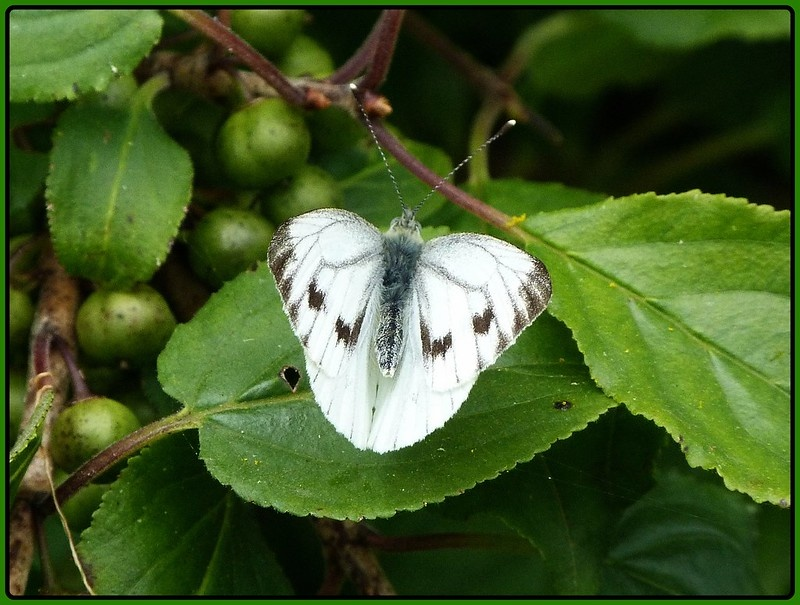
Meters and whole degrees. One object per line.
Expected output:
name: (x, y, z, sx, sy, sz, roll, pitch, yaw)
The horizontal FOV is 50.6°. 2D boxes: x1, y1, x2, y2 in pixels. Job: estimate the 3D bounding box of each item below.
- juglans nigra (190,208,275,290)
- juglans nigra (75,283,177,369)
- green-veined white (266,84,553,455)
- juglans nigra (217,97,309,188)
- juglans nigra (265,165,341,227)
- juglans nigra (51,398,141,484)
juglans nigra: (-0.348, -0.192, 2.009, 0.198, 0.216, 0.214, -9, 47, -12)
juglans nigra: (-0.621, 0.051, 1.892, 0.215, 0.090, 0.165, -10, 79, 0)
green-veined white: (0.009, -0.119, 2.089, 0.649, 1.017, 0.814, 6, 94, 2)
juglans nigra: (-0.322, -0.335, 1.985, 0.205, 0.196, 0.198, 2, 81, -20)
juglans nigra: (-0.232, -0.255, 1.992, 0.118, 0.156, 0.137, -6, 25, 0)
juglans nigra: (-0.662, 0.290, 1.796, 0.162, 0.095, 0.161, -8, 71, -3)
